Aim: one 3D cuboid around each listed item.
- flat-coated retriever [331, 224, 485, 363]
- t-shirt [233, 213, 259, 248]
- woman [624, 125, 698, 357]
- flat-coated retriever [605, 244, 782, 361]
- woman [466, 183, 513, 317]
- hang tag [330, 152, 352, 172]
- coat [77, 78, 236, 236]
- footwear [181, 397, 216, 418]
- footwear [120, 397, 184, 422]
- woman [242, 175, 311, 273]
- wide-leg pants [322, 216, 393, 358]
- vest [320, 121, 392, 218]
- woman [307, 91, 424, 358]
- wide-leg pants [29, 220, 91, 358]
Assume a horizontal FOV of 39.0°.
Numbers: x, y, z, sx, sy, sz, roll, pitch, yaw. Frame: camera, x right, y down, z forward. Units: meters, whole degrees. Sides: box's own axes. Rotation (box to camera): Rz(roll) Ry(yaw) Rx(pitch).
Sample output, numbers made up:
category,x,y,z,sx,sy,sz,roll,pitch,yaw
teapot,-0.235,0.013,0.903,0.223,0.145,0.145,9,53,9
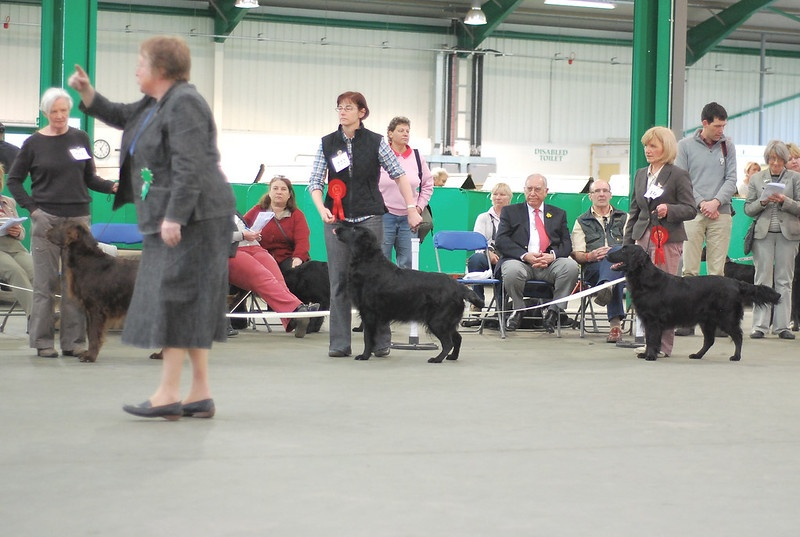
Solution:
category,x,y,z,sx,sy,sz,roll,pitch,yaw
flat-coated retriever,0.104,0.225,9.662,1.480,1.140,0.435,4,2,27
t-shirt,-1.425,-0.347,10.493,0.234,0.103,0.265,4,44,-48
woman,2.346,-0.326,10.299,0.530,1.899,0.621,-10,15,-35
flat-coated retriever,2.534,0.304,9.941,1.428,1.006,0.326,1,13,-2
woman,1.031,-0.216,12.188,0.500,1.377,0.738,4,18,6
hang tag,-0.498,-0.918,9.648,0.153,0.169,0.064,0,13,-5
coat,-1.591,-0.767,7.640,0.913,1.005,0.459,9,16,30
footwear,-1.365,0.955,7.721,0.271,0.107,0.098,4,1,15
footwear,-1.666,0.945,7.645,0.395,0.139,0.148,7,-8,-9
woman,-1.240,-0.425,11.282,0.820,0.968,0.744,4,9,2
wide-leg pants,-0.394,0.112,9.864,0.473,1.443,0.533,-6,4,42
vest,-0.408,-0.831,9.728,0.578,0.776,0.332,2,13,5
woman,-0.313,-0.399,9.612,1.052,2.328,0.867,0,-4,2
wide-leg pants,-2.878,0.136,9.594,0.541,1.205,0.341,13,-24,-42
